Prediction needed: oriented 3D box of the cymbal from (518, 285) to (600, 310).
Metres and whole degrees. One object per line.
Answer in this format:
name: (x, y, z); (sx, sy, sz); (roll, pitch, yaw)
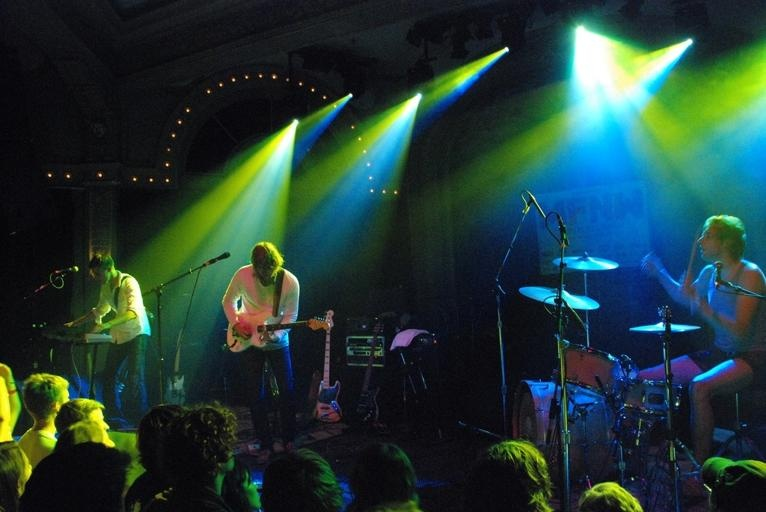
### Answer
cymbal: (1.924, 0.464, 6.959); (0.478, 0.117, 0.474); (12, 15, -30)

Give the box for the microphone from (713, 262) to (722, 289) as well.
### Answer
microphone: (3.140, 0.183, 6.042); (0.056, 0.205, 0.419); (2, 7, 28)

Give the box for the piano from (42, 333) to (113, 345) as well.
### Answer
piano: (-3.853, 1.055, 8.219); (0.793, 0.147, 0.241); (-1, 6, -2)

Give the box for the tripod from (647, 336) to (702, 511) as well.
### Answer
tripod: (2.850, 1.617, 6.359); (0.208, 1.767, 0.811); (2, 7, 24)

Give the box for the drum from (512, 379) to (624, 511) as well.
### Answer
drum: (2.149, 1.933, 7.528); (1.137, 1.622, 1.450); (1, -1, -14)
